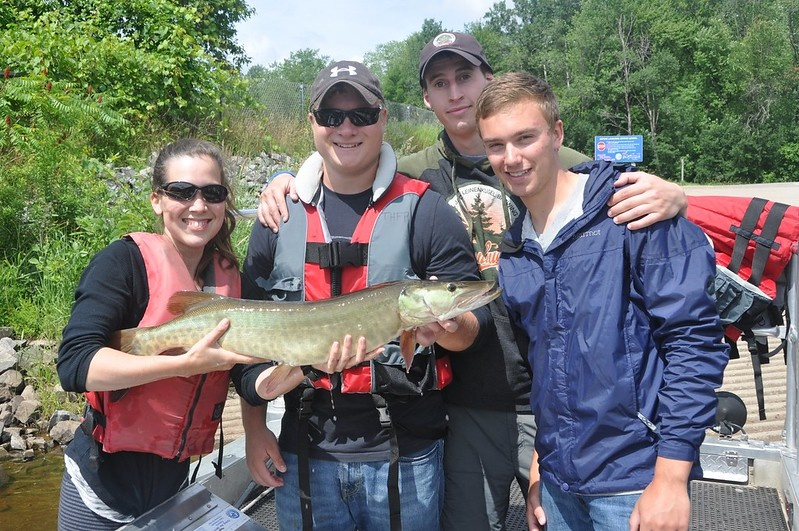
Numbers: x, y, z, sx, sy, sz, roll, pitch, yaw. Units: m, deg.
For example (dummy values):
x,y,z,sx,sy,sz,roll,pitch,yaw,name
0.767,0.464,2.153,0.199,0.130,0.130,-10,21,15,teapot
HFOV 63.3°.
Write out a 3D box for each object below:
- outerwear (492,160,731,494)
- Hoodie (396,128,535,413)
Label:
x,y,z,sx,sy,sz,roll,pitch,yaw,name
1.604,0.499,4.900,1.572,2.386,0.541,-2,5,26,outerwear
0.537,0.105,6.261,1.620,2.137,0.620,1,-7,-27,Hoodie
